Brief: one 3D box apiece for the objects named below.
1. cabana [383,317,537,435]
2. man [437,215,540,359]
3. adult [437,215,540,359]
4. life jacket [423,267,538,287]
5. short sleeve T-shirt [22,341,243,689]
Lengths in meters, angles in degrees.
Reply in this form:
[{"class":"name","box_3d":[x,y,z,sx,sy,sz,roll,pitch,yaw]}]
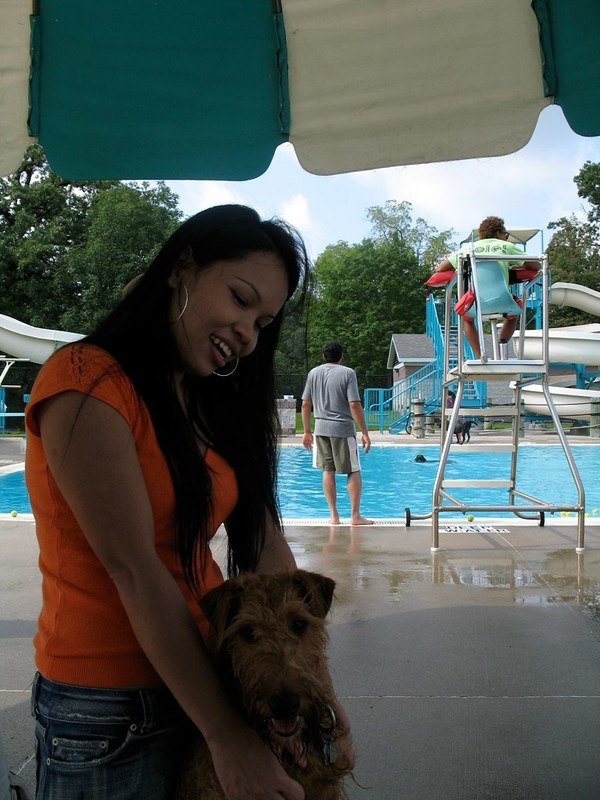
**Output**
[{"class":"cabana","box_3d":[5.190,-1.048,27.589,7.162,4.119,6.819,0,8,-1]},{"class":"man","box_3d":[1.894,-1.103,7.210,1.016,1.470,0.687,1,-4,-6]},{"class":"adult","box_3d":[1.899,-1.096,7.206,0.943,1.446,0.704,1,-5,2]},{"class":"life jacket","box_3d":[1.884,-1.241,7.252,0.528,0.129,0.469,-3,-1,3]},{"class":"short sleeve T-shirt","box_3d":[-0.335,0.232,1.445,0.395,0.639,0.324,0,0,-20]}]
